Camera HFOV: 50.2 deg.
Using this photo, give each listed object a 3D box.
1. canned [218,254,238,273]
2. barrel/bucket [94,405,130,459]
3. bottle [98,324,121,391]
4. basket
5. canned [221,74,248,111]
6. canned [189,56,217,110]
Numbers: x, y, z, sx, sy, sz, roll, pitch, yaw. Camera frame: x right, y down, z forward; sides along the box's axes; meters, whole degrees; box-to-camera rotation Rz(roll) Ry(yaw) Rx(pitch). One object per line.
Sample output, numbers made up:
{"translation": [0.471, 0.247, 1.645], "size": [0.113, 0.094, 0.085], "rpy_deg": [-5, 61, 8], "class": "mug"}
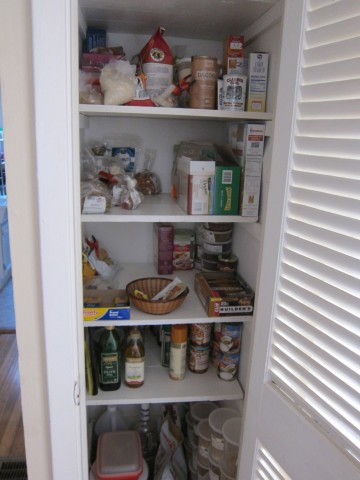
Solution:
{"translation": [0.177, 0.085, 1.432], "size": [0.060, 0.047, 0.062], "rpy_deg": [-4, 18, -13], "class": "canned"}
{"translation": [-0.285, 0.743, 1.558], "size": [0.165, 0.249, 0.155], "rpy_deg": [0, 7, 0], "class": "barrel/bucket"}
{"translation": [-0.230, 0.388, 1.256], "size": [0.076, 0.230, 0.045], "rpy_deg": [-5, 14, -13], "class": "bottle"}
{"translation": [-0.100, 0.178, 1.300], "size": [0.129, 0.049, 0.131], "rpy_deg": [-7, 20, -30], "class": "basket"}
{"translation": [0.150, -0.408, 1.083], "size": [0.079, 0.093, 0.088], "rpy_deg": [8, 8, 29], "class": "canned"}
{"translation": [0.065, -0.440, 1.078], "size": [0.077, 0.147, 0.104], "rpy_deg": [-1, 14, 3], "class": "canned"}
